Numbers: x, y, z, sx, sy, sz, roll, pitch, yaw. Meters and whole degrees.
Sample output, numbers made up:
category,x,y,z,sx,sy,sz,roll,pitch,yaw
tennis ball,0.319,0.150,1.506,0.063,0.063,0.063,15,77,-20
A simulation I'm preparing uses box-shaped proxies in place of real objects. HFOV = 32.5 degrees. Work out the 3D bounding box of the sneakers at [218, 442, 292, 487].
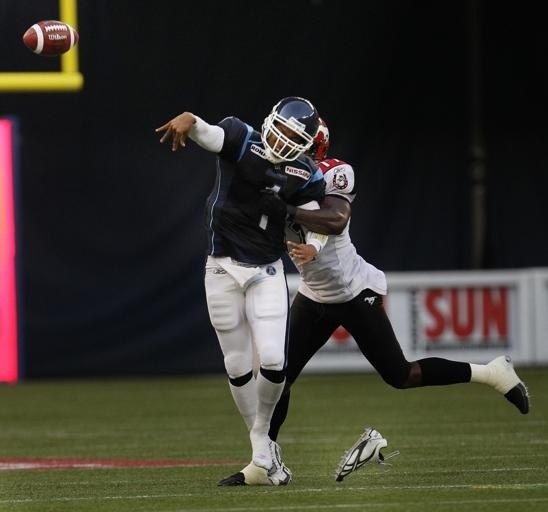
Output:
category,x,y,z,sx,sy,sz,roll,pitch,yaw
sneakers,-0.061,0.965,4.261,0.410,0.232,0.139,-1,-13,-1

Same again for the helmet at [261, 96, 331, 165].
category,x,y,z,sx,sy,sz,roll,pitch,yaw
helmet,0.082,-0.575,4.263,0.244,0.246,0.304,32,21,-10

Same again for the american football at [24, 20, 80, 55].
category,x,y,z,sx,sy,sz,roll,pitch,yaw
american football,-1.290,-1.232,5.320,0.208,0.196,0.333,5,16,41

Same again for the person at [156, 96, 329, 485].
category,x,y,z,sx,sy,sz,roll,pitch,yaw
person,-0.140,0.148,4.184,0.708,1.662,0.517,1,14,-1

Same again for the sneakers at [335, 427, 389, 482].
category,x,y,z,sx,sy,sz,roll,pitch,yaw
sneakers,0.400,0.898,4.361,0.155,0.117,0.368,-15,18,48
